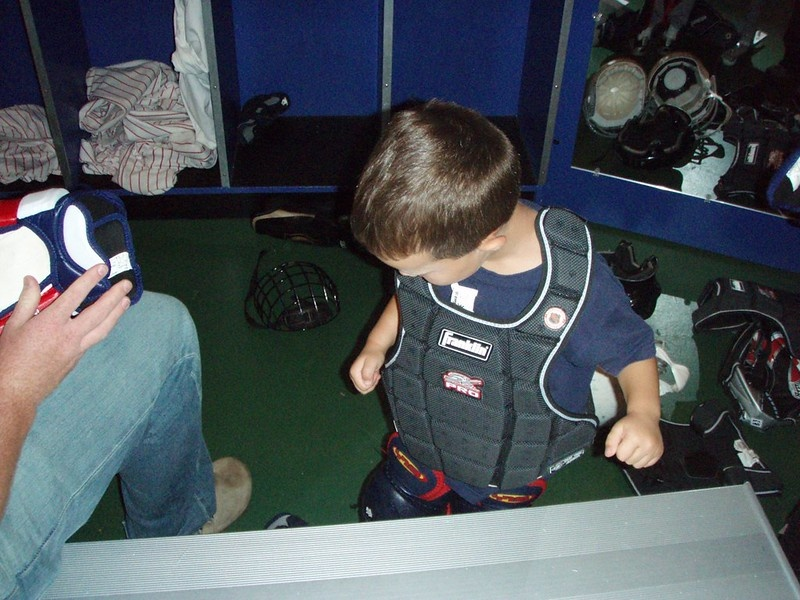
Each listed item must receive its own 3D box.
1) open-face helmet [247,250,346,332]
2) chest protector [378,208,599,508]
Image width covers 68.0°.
[{"bbox_3d":[-0.543,-0.067,2.998,0.480,0.274,0.511,2,30,-7],"label":"open-face helmet"},{"bbox_3d":[0.259,0.145,1.763,0.687,0.765,0.474,2,32,4],"label":"chest protector"}]
